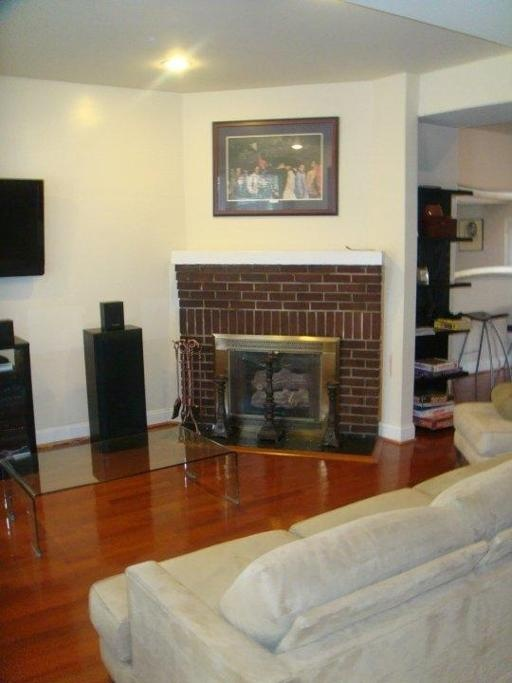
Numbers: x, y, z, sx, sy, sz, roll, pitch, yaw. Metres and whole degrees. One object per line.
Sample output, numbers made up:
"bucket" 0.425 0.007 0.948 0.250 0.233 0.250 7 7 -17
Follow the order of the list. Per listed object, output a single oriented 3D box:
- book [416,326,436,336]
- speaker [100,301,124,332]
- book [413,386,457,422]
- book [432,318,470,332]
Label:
"book" 1.374 -0.085 4.633 0.213 0.065 0.084 -10 2 -19
"speaker" -0.992 -0.170 3.896 0.170 0.238 0.121 -8 11 -34
"book" 1.377 0.507 4.415 0.233 0.221 0.276 -7 3 40
"book" 1.659 -0.136 4.787 0.257 0.131 0.082 2 -7 -15
